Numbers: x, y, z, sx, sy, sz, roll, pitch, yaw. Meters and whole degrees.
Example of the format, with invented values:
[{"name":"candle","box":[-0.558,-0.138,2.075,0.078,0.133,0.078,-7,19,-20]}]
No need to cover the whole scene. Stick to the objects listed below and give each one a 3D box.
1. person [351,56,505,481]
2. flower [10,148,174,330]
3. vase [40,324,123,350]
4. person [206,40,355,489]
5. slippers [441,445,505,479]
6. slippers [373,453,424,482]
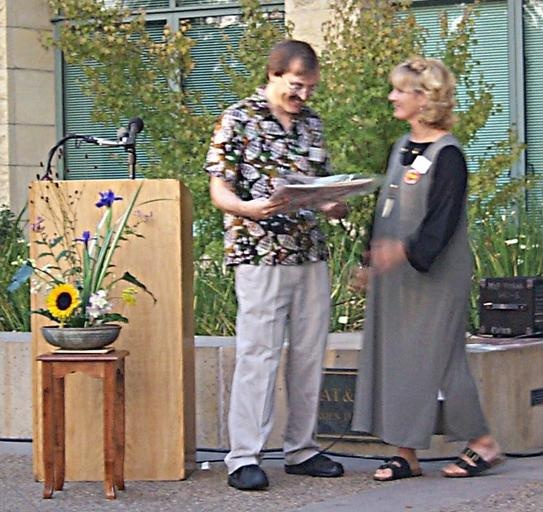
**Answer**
[{"name":"person","box":[0.767,0.086,8.405,0.930,2.063,0.863,6,10,-24]},{"name":"flower","box":[-1.032,-0.102,8.279,0.716,0.853,0.564,-3,10,-8]},{"name":"vase","box":[-0.998,0.391,8.061,0.305,0.137,0.376,-4,5,-40]},{"name":"person","box":[0.052,0.033,8.207,0.809,2.338,0.593,-7,14,-21]},{"name":"slippers","box":[1.080,1.082,8.374,0.325,0.160,0.270,-1,6,-34]},{"name":"slippers","box":[0.667,1.121,8.294,0.286,0.112,0.393,1,2,29]}]
